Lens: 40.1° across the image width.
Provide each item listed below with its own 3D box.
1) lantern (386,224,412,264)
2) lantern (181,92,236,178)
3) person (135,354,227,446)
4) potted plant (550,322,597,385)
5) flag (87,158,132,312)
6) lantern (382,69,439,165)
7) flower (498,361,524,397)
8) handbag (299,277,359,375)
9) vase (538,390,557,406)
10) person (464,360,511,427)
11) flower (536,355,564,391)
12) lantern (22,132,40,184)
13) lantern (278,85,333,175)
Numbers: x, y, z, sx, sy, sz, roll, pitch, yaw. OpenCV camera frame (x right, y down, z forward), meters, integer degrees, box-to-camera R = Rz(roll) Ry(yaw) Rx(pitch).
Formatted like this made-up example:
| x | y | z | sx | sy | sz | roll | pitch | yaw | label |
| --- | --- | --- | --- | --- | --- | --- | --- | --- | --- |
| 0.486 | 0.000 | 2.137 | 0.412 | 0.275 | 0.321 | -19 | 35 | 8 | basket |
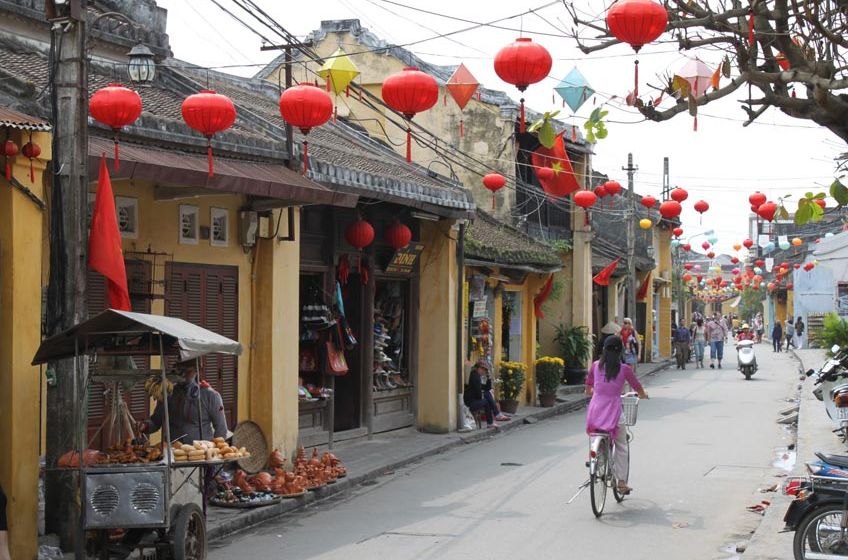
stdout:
| x | y | z | sx | sy | sz | roll | pitch | yaw | label |
| --- | --- | --- | --- | --- | --- | --- | --- | --- | --- |
| -0.378 | -0.792 | 22.974 | 0.626 | 0.691 | 0.625 | 3 | 6 | 25 | lantern |
| -3.037 | -2.142 | 16.618 | 0.698 | 1.353 | 1.366 | -3 | -7 | -9 | lantern |
| -3.764 | 1.743 | 16.193 | 1.170 | 1.822 | 1.133 | -10 | -22 | 8 | person |
| 4.111 | 2.021 | 32.079 | 0.933 | 1.748 | 1.323 | -1 | 2 | 10 | potted plant |
| -4.005 | -0.572 | 15.169 | 0.578 | 2.016 | 0.572 | 9 | 0 | -36 | flag |
| -0.214 | -2.714 | 16.514 | 0.790 | 0.731 | 0.544 | -6 | -7 | 14 | lantern |
| 1.840 | 2.315 | 26.217 | 0.701 | 0.865 | 0.818 | 3 | 4 | 7 | flower |
| -1.794 | 0.932 | 21.420 | 0.847 | 1.980 | 0.865 | 1 | -1 | 22 | handbag |
| 2.951 | 2.888 | 28.093 | 0.368 | 0.247 | 0.363 | 1 | -9 | 1 | vase |
| 1.249 | 2.444 | 24.824 | 0.859 | 1.387 | 0.696 | 0 | 0 | -10 | person |
| 3.008 | 2.276 | 28.370 | 0.744 | 0.829 | 0.777 | 1 | -3 | -29 | flower |
| -4.996 | -1.597 | 14.944 | 0.201 | 0.650 | 0.263 | -5 | -7 | 3 | lantern |
| -1.727 | -2.387 | 17.219 | 0.752 | 1.340 | 1.704 | -4 | -7 | -6 | lantern |
